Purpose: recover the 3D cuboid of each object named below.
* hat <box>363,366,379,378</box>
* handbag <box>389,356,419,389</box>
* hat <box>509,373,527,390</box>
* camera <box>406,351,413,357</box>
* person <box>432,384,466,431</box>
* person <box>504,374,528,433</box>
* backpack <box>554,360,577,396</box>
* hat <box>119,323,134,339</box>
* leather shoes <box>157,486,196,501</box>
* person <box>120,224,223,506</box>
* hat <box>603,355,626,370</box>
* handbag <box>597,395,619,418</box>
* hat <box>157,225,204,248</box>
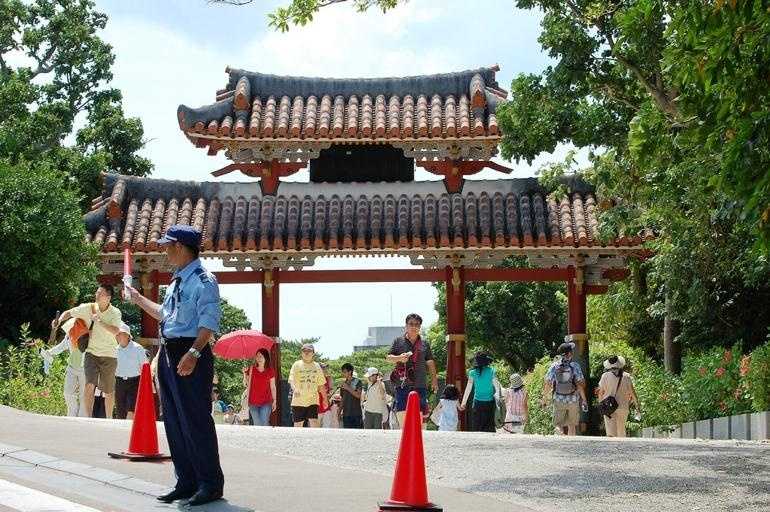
[{"bbox_3d":[-0.268,2.571,26.915,0.332,0.236,0.460,-1,-7,36],"label":"hat"},{"bbox_3d":[0.393,2.241,23.439,0.607,0.803,0.294,1,-10,6],"label":"handbag"},{"bbox_3d":[2.857,2.681,26.053,0.329,0.217,0.386,0,14,3],"label":"hat"},{"bbox_3d":[0.472,1.875,23.427,0.071,0.081,0.163,-7,-12,35],"label":"camera"},{"bbox_3d":[1.331,3.339,25.514,0.654,1.316,0.390,6,8,-7],"label":"person"},{"bbox_3d":[2.801,3.130,25.938,0.520,1.297,1.504,-1,-10,5],"label":"person"},{"bbox_3d":[3.857,2.543,25.289,0.494,0.692,0.422,3,8,42],"label":"backpack"},{"bbox_3d":[-5.286,1.481,24.331,0.224,0.134,0.255,16,-14,7],"label":"hat"},{"bbox_3d":[-3.194,3.587,18.385,0.590,0.251,0.203,1,-6,-9],"label":"leather shoes"},{"bbox_3d":[-2.998,1.642,18.499,1.011,4.221,0.621,1,-9,-7],"label":"person"},{"bbox_3d":[4.891,2.226,25.495,0.403,0.282,0.409,-1,-10,3],"label":"hat"},{"bbox_3d":[4.749,3.145,25.455,0.472,0.459,0.276,-28,-16,3],"label":"handbag"},{"bbox_3d":[-3.209,-0.312,18.701,0.600,0.297,0.391,7,-5,0],"label":"hat"}]
